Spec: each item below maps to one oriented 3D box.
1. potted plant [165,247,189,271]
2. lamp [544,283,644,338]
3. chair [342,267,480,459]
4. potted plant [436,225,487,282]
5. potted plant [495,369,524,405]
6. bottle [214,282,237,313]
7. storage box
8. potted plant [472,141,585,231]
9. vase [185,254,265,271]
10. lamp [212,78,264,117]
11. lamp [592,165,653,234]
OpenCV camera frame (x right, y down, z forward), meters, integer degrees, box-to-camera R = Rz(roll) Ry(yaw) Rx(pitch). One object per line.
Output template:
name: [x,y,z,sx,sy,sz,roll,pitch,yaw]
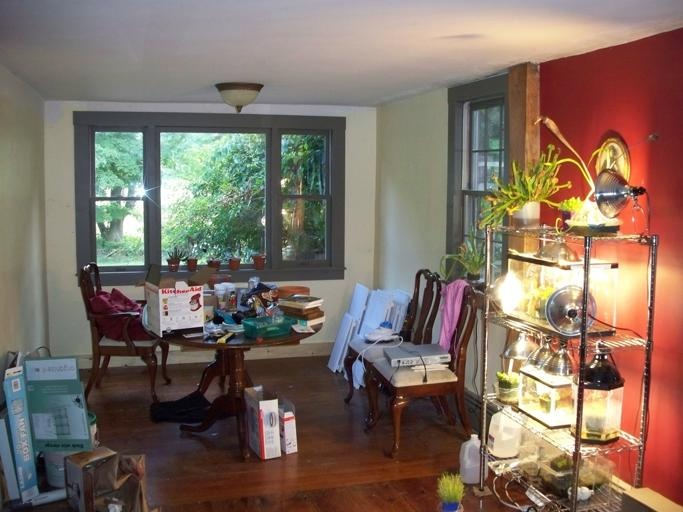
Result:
potted plant: [-1.828,0.040,6.065,0.256,0.398,0.243,0,-4,2]
lamp: [1.411,0.294,3.144,0.452,0.284,0.258,-8,14,-35]
chair: [0.627,0.810,4.623,0.999,1.296,1.092,-5,12,-23]
potted plant: [1.044,0.010,4.646,0.370,0.253,0.371,-3,7,-20]
potted plant: [1.100,0.877,3.590,0.176,0.181,0.169,0,2,5]
bottle: [-1.094,0.378,5.110,0.201,0.093,0.275,-1,7,-17]
storage box: [-1.309,0.385,4.205,0.512,0.510,0.375,-2,4,-35]
potted plant: [1.205,-0.478,3.781,0.701,0.580,0.474,-4,9,-12]
vase: [-1.267,0.090,6.030,0.865,0.155,0.309,-2,11,-13]
lamp: [-0.913,-1.417,4.804,0.396,0.213,0.373,8,14,35]
lamp: [1.673,-0.347,3.051,0.311,0.312,0.309,16,8,-40]
